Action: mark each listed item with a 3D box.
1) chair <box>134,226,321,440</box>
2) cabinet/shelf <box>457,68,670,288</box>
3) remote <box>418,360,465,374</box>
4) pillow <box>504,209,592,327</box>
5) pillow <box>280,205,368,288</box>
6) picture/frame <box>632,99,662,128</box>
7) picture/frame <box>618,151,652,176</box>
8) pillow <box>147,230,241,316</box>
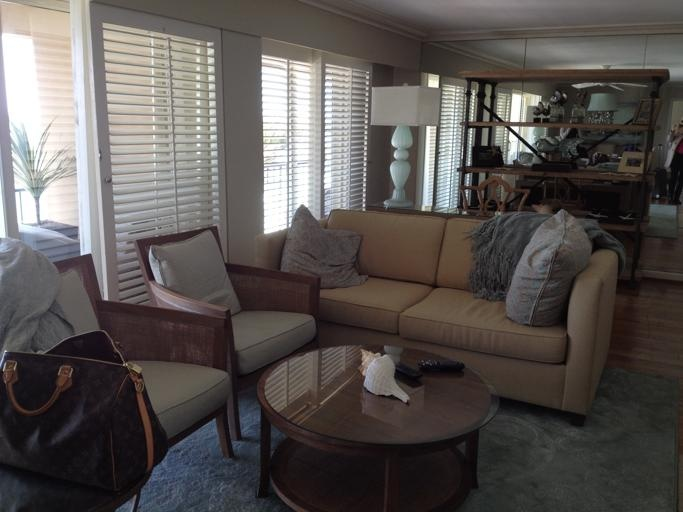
[{"bbox_3d":[-0.658,0.322,3.350,1.203,1.268,1.021,7,12,37],"label":"chair"},{"bbox_3d":[2.127,-0.749,4.614,2.168,2.188,0.702,7,14,31],"label":"cabinet/shelf"},{"bbox_3d":[0.474,0.523,2.421,0.155,0.035,0.083,-2,-1,-1],"label":"remote"},{"bbox_3d":[1.117,0.087,2.930,0.501,0.638,0.936,3,9,18],"label":"pillow"},{"bbox_3d":[-0.027,-0.055,3.352,0.592,0.528,0.170,15,-20,-23],"label":"pillow"},{"bbox_3d":[2.992,-1.397,4.937,0.075,0.278,0.276,3,21,-25],"label":"picture/frame"},{"bbox_3d":[2.914,-0.931,5.054,0.252,0.209,0.180,7,17,27],"label":"picture/frame"},{"bbox_3d":[-0.794,0.103,3.002,0.495,0.451,0.238,-10,4,18],"label":"pillow"}]
